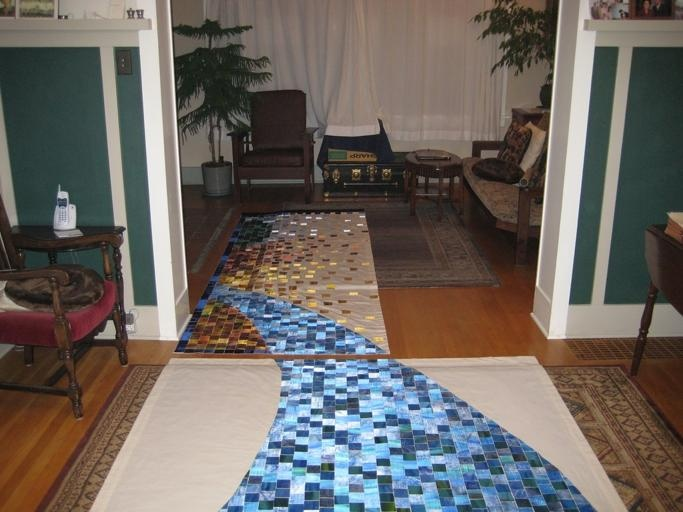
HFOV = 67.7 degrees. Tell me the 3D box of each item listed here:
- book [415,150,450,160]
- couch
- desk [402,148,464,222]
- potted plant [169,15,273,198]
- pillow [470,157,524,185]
[{"bbox_3d":[1.008,-1.108,5.599,0.386,0.072,0.363,1,22,9],"label":"book"},{"bbox_3d":[1.599,-0.627,4.976,0.734,1.075,1.640,3,36,9],"label":"couch"},{"bbox_3d":[1.051,-0.902,5.826,0.811,0.886,0.839,4,30,10],"label":"desk"},{"bbox_3d":[-1.502,-1.868,6.458,1.210,2.125,1.173,-2,21,2],"label":"potted plant"},{"bbox_3d":[1.598,-0.887,5.285,0.238,0.125,0.430,-26,28,-17],"label":"pillow"}]
